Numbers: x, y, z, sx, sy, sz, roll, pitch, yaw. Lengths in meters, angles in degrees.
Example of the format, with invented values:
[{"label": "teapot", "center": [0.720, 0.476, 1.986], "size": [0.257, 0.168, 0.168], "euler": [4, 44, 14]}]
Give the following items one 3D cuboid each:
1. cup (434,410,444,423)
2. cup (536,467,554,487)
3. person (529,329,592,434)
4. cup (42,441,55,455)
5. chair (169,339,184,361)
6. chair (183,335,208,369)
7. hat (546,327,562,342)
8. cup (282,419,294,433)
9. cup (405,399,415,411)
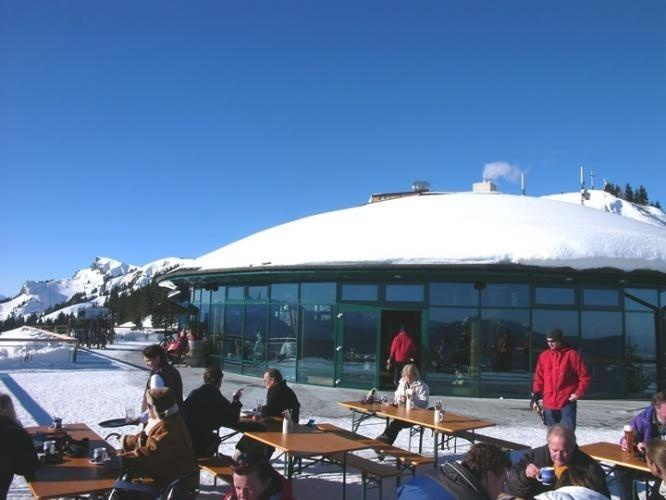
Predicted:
[{"label": "cup", "center": [1.655, 2.570, 8.732], "size": [0.114, 0.180, 0.185], "euler": [1, -4, 5]}, {"label": "cup", "center": [2.410, 2.561, 6.383], "size": [0.247, 0.221, 0.165], "euler": [-6, -13, 25]}, {"label": "person", "center": [3.906, 2.213, 9.630], "size": [0.949, 1.700, 0.583], "euler": [-3, -5, 34]}, {"label": "cup", "center": [-3.384, 2.361, 6.762], "size": [0.127, 0.165, 0.161], "euler": [4, -17, -22]}, {"label": "chair", "center": [-5.974, 3.821, 21.257], "size": [0.598, 0.809, 0.355], "euler": [3, 3, 6]}, {"label": "chair", "center": [-4.998, 3.785, 20.770], "size": [0.940, 1.019, 0.953], "euler": [2, -8, -5]}, {"label": "hat", "center": [3.845, 1.457, 9.765], "size": [0.234, 0.256, 0.316], "euler": [1, -21, 33]}, {"label": "cup", "center": [-0.613, 2.464, 7.980], "size": [0.177, 0.198, 0.183], "euler": [3, -2, 0]}, {"label": "cup", "center": [1.357, 2.626, 9.638], "size": [0.115, 0.163, 0.185], "euler": [1, -3, -5]}]
